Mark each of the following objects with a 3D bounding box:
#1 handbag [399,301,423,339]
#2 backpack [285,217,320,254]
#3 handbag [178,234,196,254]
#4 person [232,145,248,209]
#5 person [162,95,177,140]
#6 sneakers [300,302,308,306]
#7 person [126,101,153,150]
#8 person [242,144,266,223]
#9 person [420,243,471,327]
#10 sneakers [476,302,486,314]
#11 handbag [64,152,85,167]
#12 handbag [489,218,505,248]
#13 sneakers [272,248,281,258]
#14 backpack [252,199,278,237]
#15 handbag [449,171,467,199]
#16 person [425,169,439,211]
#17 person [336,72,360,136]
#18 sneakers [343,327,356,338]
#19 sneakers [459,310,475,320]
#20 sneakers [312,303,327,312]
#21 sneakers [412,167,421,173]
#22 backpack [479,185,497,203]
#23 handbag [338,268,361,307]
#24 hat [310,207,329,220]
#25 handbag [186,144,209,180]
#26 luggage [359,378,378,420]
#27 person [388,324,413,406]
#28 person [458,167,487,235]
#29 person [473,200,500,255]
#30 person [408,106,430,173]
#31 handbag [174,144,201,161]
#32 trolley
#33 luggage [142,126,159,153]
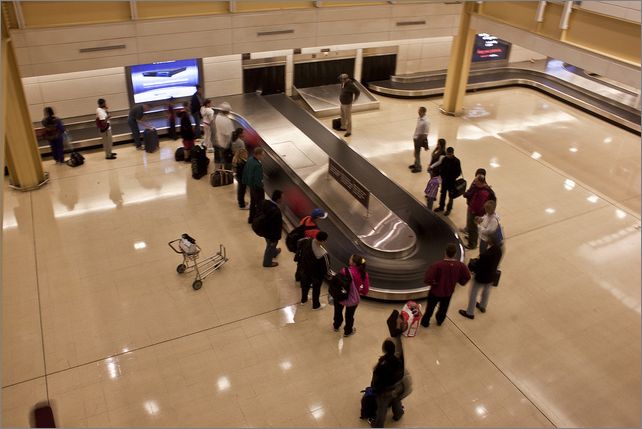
[{"bbox_3d":[1.595,1.870,7.562,0.324,0.580,0.406,-3,45,-3],"label":"handbag"},{"bbox_3d":[-0.364,0.347,7.879,0.691,0.684,0.447,-11,50,-22],"label":"backpack"},{"bbox_3d":[-2.640,0.560,8.464,0.295,0.190,0.397,-29,66,-28],"label":"handbag"},{"bbox_3d":[-1.881,-0.867,9.952,0.441,1.482,0.535,-12,59,-15],"label":"person"},{"bbox_3d":[-4.536,-2.850,12.807,0.451,1.496,0.485,-20,90,-24],"label":"person"},{"bbox_3d":[-0.331,1.704,8.214,0.116,0.049,0.039,-10,77,-52],"label":"sneakers"},{"bbox_3d":[-5.164,-2.484,12.161,0.835,1.506,0.641,-7,66,-23],"label":"person"},{"bbox_3d":[-1.479,-0.619,9.362,0.509,1.888,0.685,-13,61,-21],"label":"person"},{"bbox_3d":[2.192,1.282,7.720,0.730,1.751,0.560,2,33,-3],"label":"person"},{"bbox_3d":[3.091,1.800,8.268,0.084,0.101,0.253,-41,65,-1],"label":"sneakers"},{"bbox_3d":[-6.514,-1.470,11.446,0.463,0.432,0.320,-5,29,-13],"label":"handbag"},{"bbox_3d":[3.179,0.334,7.778,0.264,0.469,0.333,-12,35,3],"label":"handbag"},{"bbox_3d":[-0.916,0.767,9.044,0.087,0.178,0.256,19,57,9],"label":"sneakers"},{"bbox_3d":[-1.072,0.057,8.324,0.322,0.529,0.566,-24,63,-41],"label":"backpack"},{"bbox_3d":[3.154,-0.670,9.908,0.294,0.474,0.500,34,48,27],"label":"handbag"},{"bbox_3d":[2.652,-0.554,10.249,0.324,0.902,0.521,13,53,8],"label":"person"},{"bbox_3d":[0.865,-3.352,13.029,0.560,1.711,0.937,0,35,4],"label":"person"},{"bbox_3d":[0.539,2.138,7.760,0.096,0.285,0.123,50,19,12],"label":"sneakers"},{"bbox_3d":[2.771,1.900,8.167,0.104,0.110,0.279,-32,52,-33],"label":"sneakers"},{"bbox_3d":[-0.013,1.750,8.204,0.279,0.111,0.101,-16,44,-22],"label":"sneakers"},{"bbox_3d":[2.600,-1.213,11.667,0.262,0.104,0.106,-1,49,-9],"label":"sneakers"},{"bbox_3d":[3.418,-0.433,8.843,0.306,0.152,0.425,-20,52,-18],"label":"backpack"},{"bbox_3d":[0.481,1.203,7.149,0.356,0.677,0.428,-1,31,-4],"label":"handbag"},{"bbox_3d":[-0.040,-0.005,7.952,0.249,0.129,0.188,-12,44,-4],"label":"hat"},{"bbox_3d":[-3.206,-1.349,11.115,0.323,0.877,0.589,9,37,10],"label":"handbag"},{"bbox_3d":[0.803,2.900,6.602,0.180,0.360,0.693,7,74,11],"label":"luggage"},{"bbox_3d":[1.184,2.279,6.435,0.314,0.899,1.015,-8,36,11],"label":"person"},{"bbox_3d":[3.293,-0.246,9.328,0.445,1.473,0.754,18,67,6],"label":"person"},{"bbox_3d":[3.171,0.219,8.201,0.335,1.105,0.355,-11,74,7],"label":"person"},{"bbox_3d":[2.658,-2.037,11.401,0.454,1.741,0.734,6,35,12],"label":"person"},{"bbox_3d":[-3.572,-1.674,11.509,0.806,0.259,0.487,2,31,2],"label":"handbag"},{"bbox_3d":[-2.434,0.811,8.620,1.046,1.002,0.660,-28,43,-35],"label":"trolley"},{"bbox_3d":[-4.785,-2.072,11.996,0.246,0.702,0.443,2,47,0],"label":"luggage"}]
